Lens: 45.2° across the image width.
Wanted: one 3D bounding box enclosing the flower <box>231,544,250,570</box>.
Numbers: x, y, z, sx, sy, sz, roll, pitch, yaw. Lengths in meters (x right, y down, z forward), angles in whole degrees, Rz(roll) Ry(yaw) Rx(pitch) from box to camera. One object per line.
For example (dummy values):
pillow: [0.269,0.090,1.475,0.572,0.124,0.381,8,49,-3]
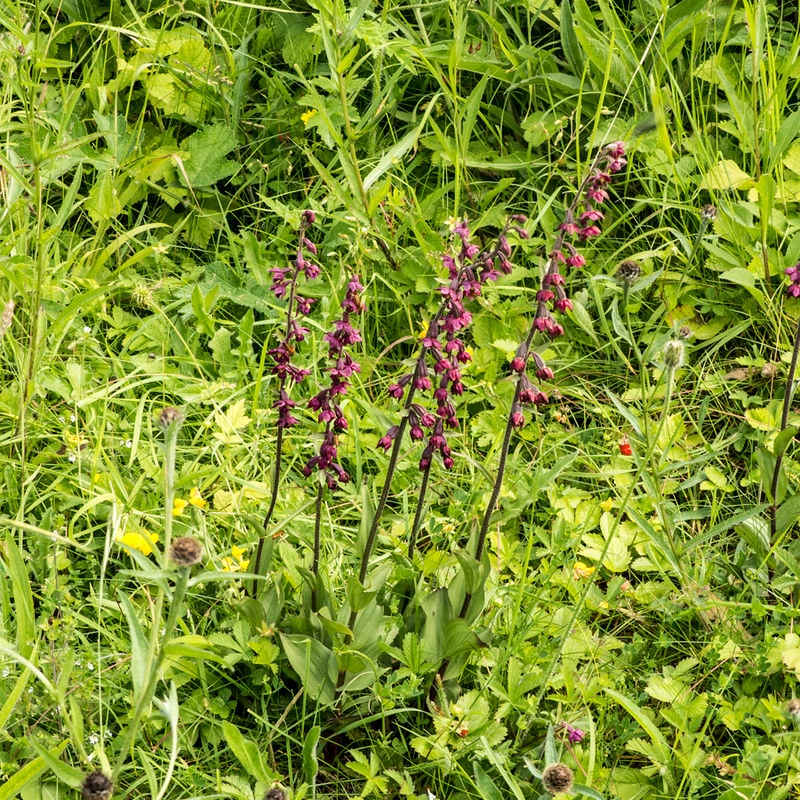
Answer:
flower: [-0.480,0.472,2.881,0.056,0.063,0.031,-19,49,-5]
